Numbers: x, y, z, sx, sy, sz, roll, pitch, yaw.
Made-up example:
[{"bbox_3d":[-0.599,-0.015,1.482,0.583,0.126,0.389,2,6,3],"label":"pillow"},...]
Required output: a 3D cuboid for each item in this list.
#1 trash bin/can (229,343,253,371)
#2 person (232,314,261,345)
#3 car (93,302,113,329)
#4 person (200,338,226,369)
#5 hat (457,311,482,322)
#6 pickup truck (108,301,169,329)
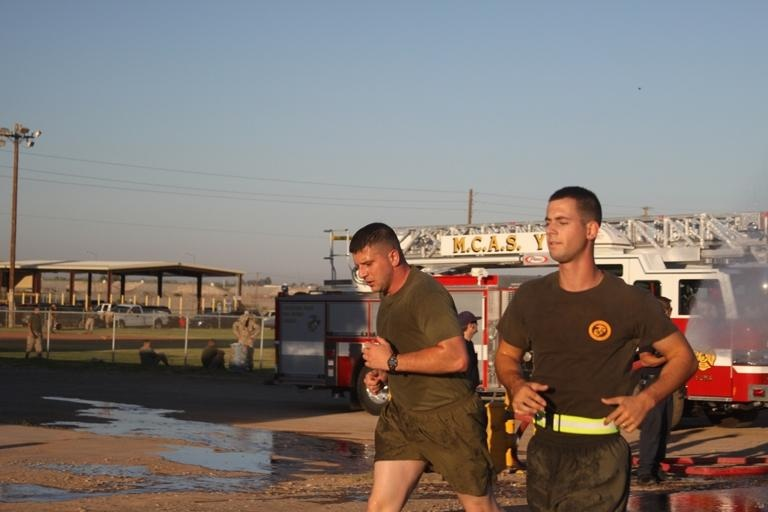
[{"bbox_3d":[-3.922,2.690,31.119,0.817,0.709,0.758,1,0,-21],"label":"trash bin/can"},{"bbox_3d":[-3.752,1.930,31.095,0.601,0.960,1.604,0,-4,-8],"label":"person"},{"bbox_3d":[-13.623,2.836,55.906,1.724,1.085,2.285,1,2,-14],"label":"car"},{"bbox_3d":[-4.753,2.683,31.901,0.598,0.771,1.459,0,-4,-8],"label":"person"},{"bbox_3d":[1.326,0.934,17.947,0.288,0.140,0.414,-1,2,39],"label":"hat"},{"bbox_3d":[-12.294,2.918,57.265,1.773,0.881,3.448,-3,-5,44],"label":"pickup truck"}]
